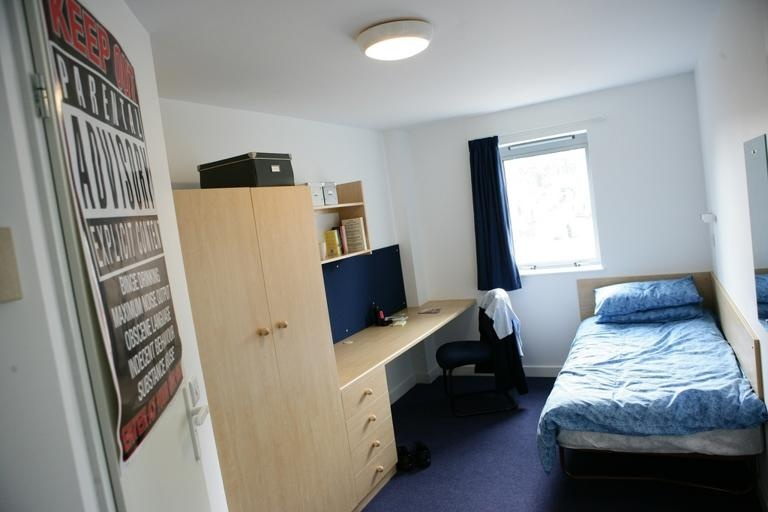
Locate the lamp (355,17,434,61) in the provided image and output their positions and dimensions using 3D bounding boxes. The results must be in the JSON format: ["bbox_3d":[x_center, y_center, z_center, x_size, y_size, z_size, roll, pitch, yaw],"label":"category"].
[{"bbox_3d":[0.099,-1.374,3.218,0.503,0.121,0.501,-8,11,-25],"label":"lamp"}]

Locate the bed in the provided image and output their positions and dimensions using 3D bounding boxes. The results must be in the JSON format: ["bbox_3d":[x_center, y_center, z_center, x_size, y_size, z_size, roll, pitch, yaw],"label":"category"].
[{"bbox_3d":[2.206,0.907,4.319,1.352,1.073,2.235,-5,11,24],"label":"bed"}]

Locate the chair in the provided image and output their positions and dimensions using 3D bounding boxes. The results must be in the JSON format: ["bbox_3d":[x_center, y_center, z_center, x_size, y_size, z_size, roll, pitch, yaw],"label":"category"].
[{"bbox_3d":[0.984,0.953,5.564,1.139,1.485,0.964,0,6,7],"label":"chair"}]

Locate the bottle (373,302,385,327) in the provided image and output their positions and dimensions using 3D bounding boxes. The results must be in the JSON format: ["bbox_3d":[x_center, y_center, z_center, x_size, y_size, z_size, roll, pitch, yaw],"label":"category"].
[{"bbox_3d":[-0.067,0.590,5.401,0.144,0.207,0.359,-9,10,-1],"label":"bottle"}]
